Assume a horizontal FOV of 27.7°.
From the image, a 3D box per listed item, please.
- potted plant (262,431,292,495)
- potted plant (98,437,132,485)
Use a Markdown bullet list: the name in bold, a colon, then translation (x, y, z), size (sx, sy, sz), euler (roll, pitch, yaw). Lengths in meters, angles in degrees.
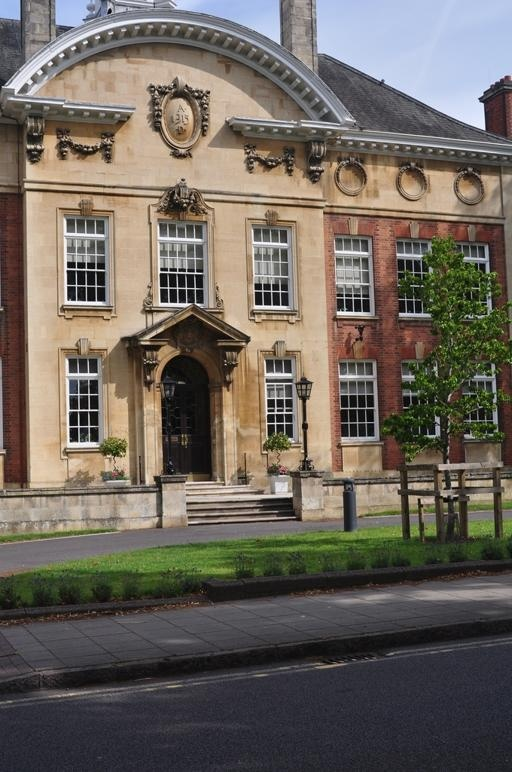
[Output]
- **potted plant**: translation (0.565, 2.094, 28.060), size (0.692, 1.623, 1.263), euler (-2, -5, -1)
- **potted plant**: translation (-3.602, 1.889, 26.367), size (0.708, 1.176, 1.106), euler (-2, -5, -7)
